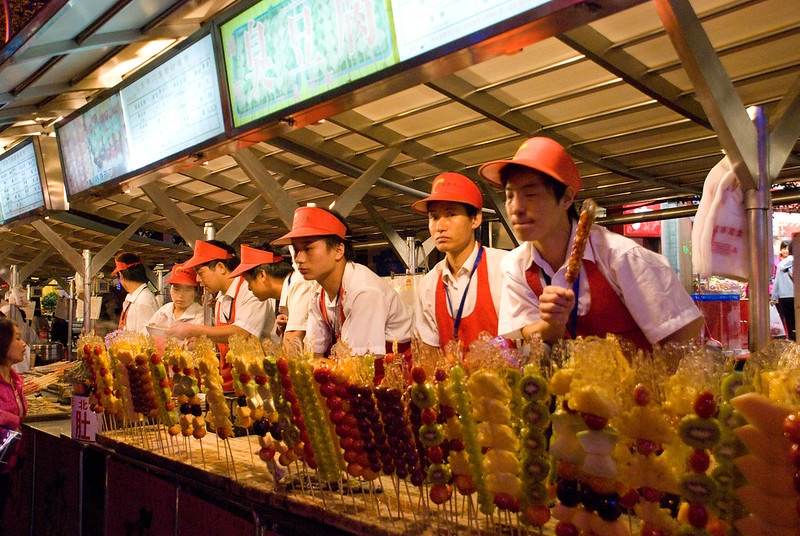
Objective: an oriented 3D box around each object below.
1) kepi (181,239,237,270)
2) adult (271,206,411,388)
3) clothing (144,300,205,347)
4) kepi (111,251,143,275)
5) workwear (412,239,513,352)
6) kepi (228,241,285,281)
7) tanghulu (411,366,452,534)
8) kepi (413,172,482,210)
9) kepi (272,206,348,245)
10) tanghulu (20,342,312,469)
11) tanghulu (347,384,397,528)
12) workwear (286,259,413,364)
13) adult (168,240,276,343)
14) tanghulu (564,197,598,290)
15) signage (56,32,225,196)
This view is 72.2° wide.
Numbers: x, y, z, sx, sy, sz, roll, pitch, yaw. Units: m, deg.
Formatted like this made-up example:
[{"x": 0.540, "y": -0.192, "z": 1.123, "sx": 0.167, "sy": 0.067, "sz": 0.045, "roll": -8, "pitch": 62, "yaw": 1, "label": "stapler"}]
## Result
[{"x": -2.019, "y": -0.145, "z": 5.865, "sx": 0.411, "sy": 0.188, "sz": 0.294, "roll": -4, "pitch": -8, "yaw": -44, "label": "kepi"}, {"x": -0.388, "y": 0.264, "z": 3.992, "sx": 1.111, "sy": 1.288, "sz": 0.822, "roll": 4, "pitch": -6, "yaw": -36, "label": "adult"}, {"x": -2.400, "y": 0.591, "z": 5.833, "sx": 0.410, "sy": 0.514, "sz": 0.343, "roll": -1, "pitch": -15, "yaw": 37, "label": "clothing"}, {"x": -3.907, "y": -0.087, "z": 7.669, "sx": 0.472, "sy": 0.239, "sz": 0.333, "roll": -14, "pitch": -11, "yaw": 30, "label": "kepi"}, {"x": 0.412, "y": 0.200, "z": 3.681, "sx": 0.837, "sy": 0.657, "sz": 0.413, "roll": -13, "pitch": -16, "yaw": 40, "label": "workwear"}, {"x": -1.353, "y": -0.080, "z": 5.212, "sx": 0.423, "sy": 0.218, "sz": 0.275, "roll": -5, "pitch": -6, "yaw": -22, "label": "kepi"}, {"x": 0.131, "y": 0.720, "z": 2.353, "sx": 0.189, "sy": 0.580, "sz": 0.168, "roll": 2, "pitch": -9, "yaw": 4, "label": "tanghulu"}, {"x": 0.387, "y": -0.557, "z": 3.813, "sx": 0.385, "sy": 0.188, "sz": 0.295, "roll": 17, "pitch": -15, "yaw": -24, "label": "kepi"}, {"x": -0.600, "y": -0.304, "z": 3.871, "sx": 0.375, "sy": 0.150, "sz": 0.264, "roll": 4, "pitch": -12, "yaw": -28, "label": "kepi"}, {"x": -1.374, "y": 0.842, "z": 3.549, "sx": 2.578, "sy": 0.766, "sz": 0.591, "roll": -6, "pitch": -12, "yaw": 42, "label": "tanghulu"}, {"x": -0.105, "y": 0.856, "z": 2.551, "sx": 0.202, "sy": 0.626, "sz": 0.115, "roll": -18, "pitch": 5, "yaw": 11, "label": "tanghulu"}, {"x": -0.372, "y": 0.331, "z": 3.969, "sx": 0.800, "sy": 0.807, "sz": 0.649, "roll": -2, "pitch": -12, "yaw": -33, "label": "workwear"}, {"x": -1.840, "y": 0.266, "z": 5.655, "sx": 0.930, "sy": 1.454, "sz": 0.884, "roll": -1, "pitch": -17, "yaw": -23, "label": "adult"}, {"x": 0.773, "y": -0.105, "z": 2.341, "sx": 0.112, "sy": 0.339, "sz": 0.277, "roll": 2, "pitch": -9, "yaw": 6, "label": "tanghulu"}, {"x": -2.510, "y": -1.338, "z": 5.183, "sx": 2.778, "sy": 0.830, "sz": 0.262, "roll": -5, "pitch": -12, "yaw": 39, "label": "signage"}]
